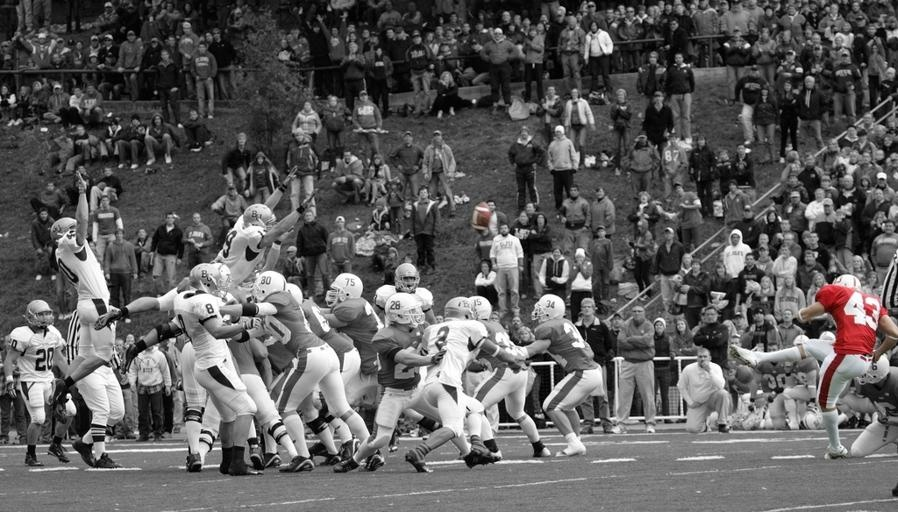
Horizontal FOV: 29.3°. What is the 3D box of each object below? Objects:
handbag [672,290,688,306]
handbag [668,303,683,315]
[{"bbox_3d":[7.126,1.298,52.881,0.425,0.388,0.300,-1,-2,36],"label":"handbag"},{"bbox_3d":[7.019,1.629,53.245,0.313,0.341,0.716,-3,0,-13],"label":"handbag"}]
